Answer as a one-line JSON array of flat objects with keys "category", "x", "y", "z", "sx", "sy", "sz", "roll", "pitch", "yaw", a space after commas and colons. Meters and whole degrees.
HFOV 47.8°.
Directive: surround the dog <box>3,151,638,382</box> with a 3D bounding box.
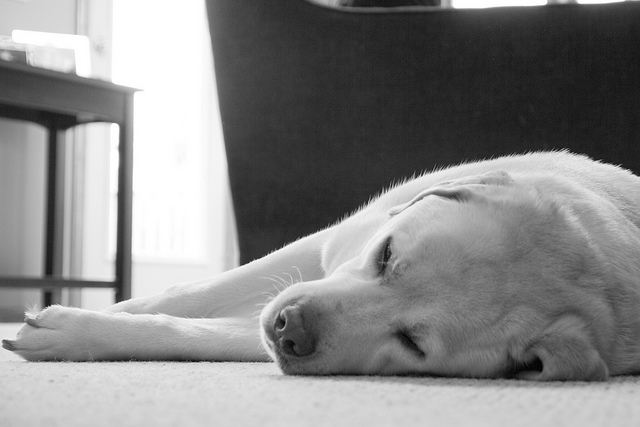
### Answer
[{"category": "dog", "x": -0.125, "y": 0.203, "z": 3.068, "sx": 2.608, "sy": 0.845, "sz": 0.942, "roll": -8, "pitch": 10, "yaw": -18}]
